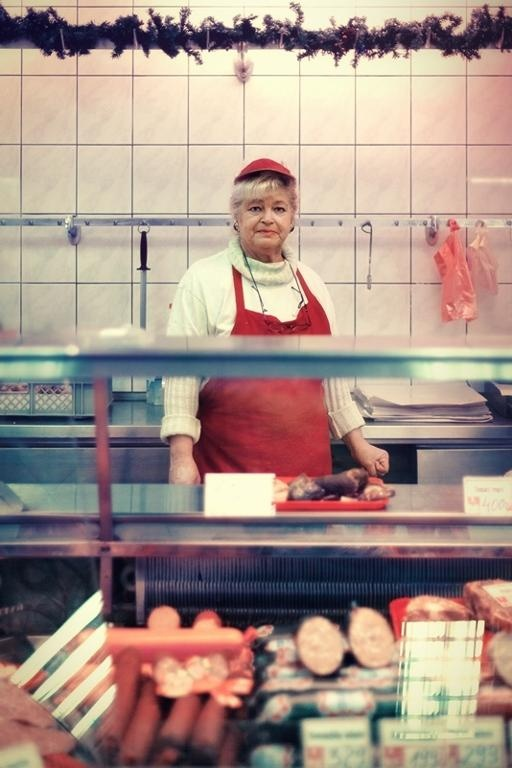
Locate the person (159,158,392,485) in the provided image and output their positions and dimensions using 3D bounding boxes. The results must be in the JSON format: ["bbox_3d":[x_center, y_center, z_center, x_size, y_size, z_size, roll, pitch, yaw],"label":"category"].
[{"bbox_3d":[0.017,-0.140,1.878,0.361,0.675,0.548,-4,-4,41],"label":"person"}]
